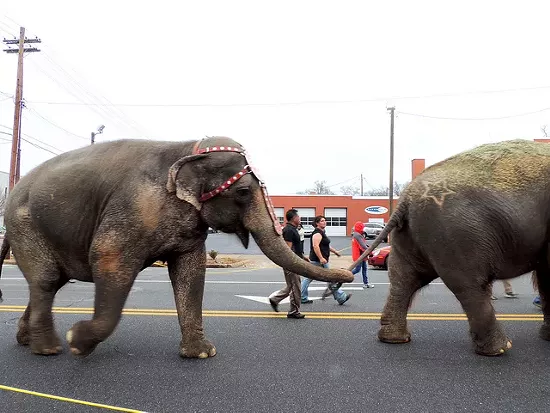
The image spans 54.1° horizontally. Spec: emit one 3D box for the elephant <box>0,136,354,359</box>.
[{"bbox_3d":[-1.670,0.557,6.654,3.358,2.841,1.211,0,5,-7],"label":"elephant"}]

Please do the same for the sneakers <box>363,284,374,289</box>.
[{"bbox_3d":[2.238,1.892,12.804,0.248,0.060,0.098,0,2,-5],"label":"sneakers"}]
